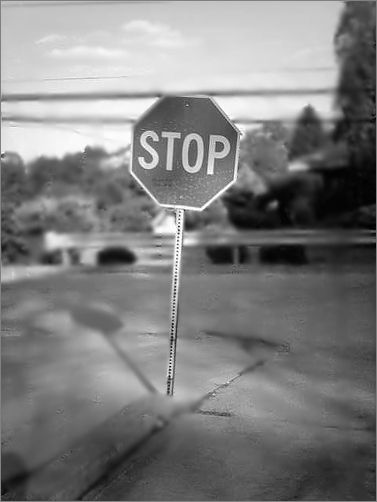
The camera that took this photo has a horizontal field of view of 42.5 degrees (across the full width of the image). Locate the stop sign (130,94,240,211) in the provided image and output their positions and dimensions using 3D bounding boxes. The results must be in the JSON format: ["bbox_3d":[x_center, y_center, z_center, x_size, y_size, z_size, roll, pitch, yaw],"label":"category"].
[{"bbox_3d":[-0.014,-0.236,1.137,0.277,0.257,0.009,9,12,23],"label":"stop sign"}]
